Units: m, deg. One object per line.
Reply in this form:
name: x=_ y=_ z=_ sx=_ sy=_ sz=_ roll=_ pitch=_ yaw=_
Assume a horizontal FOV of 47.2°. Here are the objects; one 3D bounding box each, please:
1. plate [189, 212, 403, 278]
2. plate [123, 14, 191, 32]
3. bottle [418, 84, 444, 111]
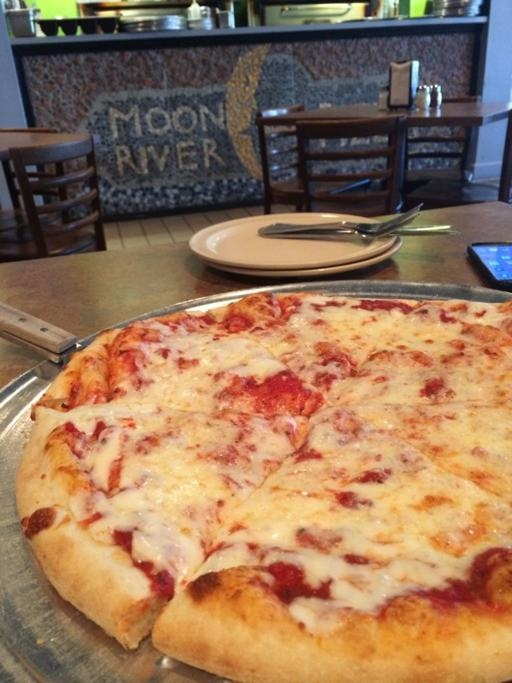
plate: x=0.055 y=-0.171 z=0.953 sx=0.327 sy=0.036 sz=0.343 roll=-7 pitch=29 yaw=-6
plate: x=-0.747 y=-2.333 z=4.305 sx=0.522 sy=0.113 sz=0.328 roll=-8 pitch=30 yaw=-8
bottle: x=1.066 y=-1.473 z=3.595 sx=0.207 sy=0.121 sz=0.299 roll=0 pitch=34 yaw=11
